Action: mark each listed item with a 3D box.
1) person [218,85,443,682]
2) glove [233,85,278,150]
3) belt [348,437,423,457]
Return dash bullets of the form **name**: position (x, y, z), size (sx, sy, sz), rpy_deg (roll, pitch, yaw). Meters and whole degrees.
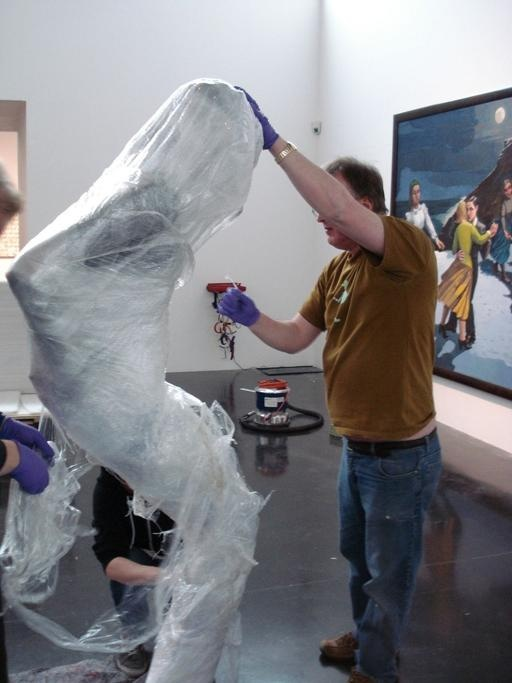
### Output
- **person**: position (0.211, 0.184, 1.748), size (0.563, 1.439, 0.645), rpy_deg (-1, 14, -3)
- **glove**: position (-0.017, -0.433, 1.254), size (0.046, 0.127, 0.093), rpy_deg (-36, 23, 17)
- **belt**: position (0.343, 0.270, 1.615), size (0.089, 0.017, 0.080), rpy_deg (-4, 1, -28)
